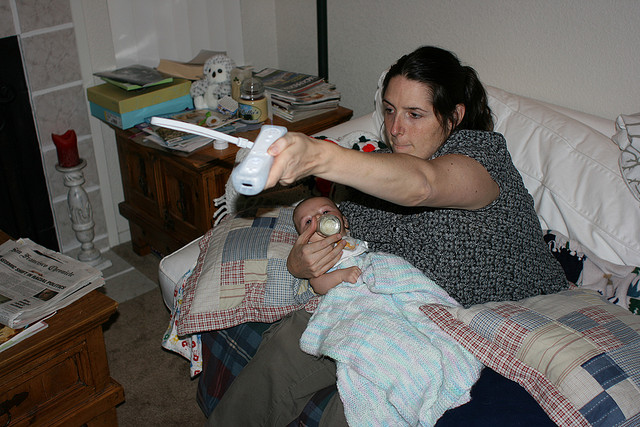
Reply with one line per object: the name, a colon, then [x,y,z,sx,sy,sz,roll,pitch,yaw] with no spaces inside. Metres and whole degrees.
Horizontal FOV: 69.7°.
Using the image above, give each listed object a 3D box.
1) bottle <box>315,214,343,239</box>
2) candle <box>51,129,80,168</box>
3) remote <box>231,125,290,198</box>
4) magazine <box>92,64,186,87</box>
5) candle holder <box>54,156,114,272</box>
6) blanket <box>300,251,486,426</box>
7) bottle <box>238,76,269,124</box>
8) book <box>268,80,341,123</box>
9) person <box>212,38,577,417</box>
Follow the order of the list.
bottle: [0.034,0.047,1.712,0.084,0.082,0.093,15,-8,-10]
candle: [-1.429,-0.363,2.581,0.123,0.184,0.120,-17,32,-39]
remote: [-0.129,-0.118,1.058,0.073,0.058,0.212,0,41,26]
magazine: [-1.060,-0.780,2.616,0.345,0.059,0.290,23,34,33]
candle holder: [-1.439,0.030,2.755,0.291,0.650,0.287,-17,19,-39]
blanket: [0.220,0.416,1.508,0.541,0.167,0.541,-41,68,-10]
bottle: [-0.374,-0.629,2.534,0.165,0.243,0.162,2,39,-2]
book: [-0.064,-0.616,2.645,0.284,0.097,0.289,-22,37,-29]
person: [0.310,0.115,1.549,1.330,1.193,0.611,-12,31,-25]
